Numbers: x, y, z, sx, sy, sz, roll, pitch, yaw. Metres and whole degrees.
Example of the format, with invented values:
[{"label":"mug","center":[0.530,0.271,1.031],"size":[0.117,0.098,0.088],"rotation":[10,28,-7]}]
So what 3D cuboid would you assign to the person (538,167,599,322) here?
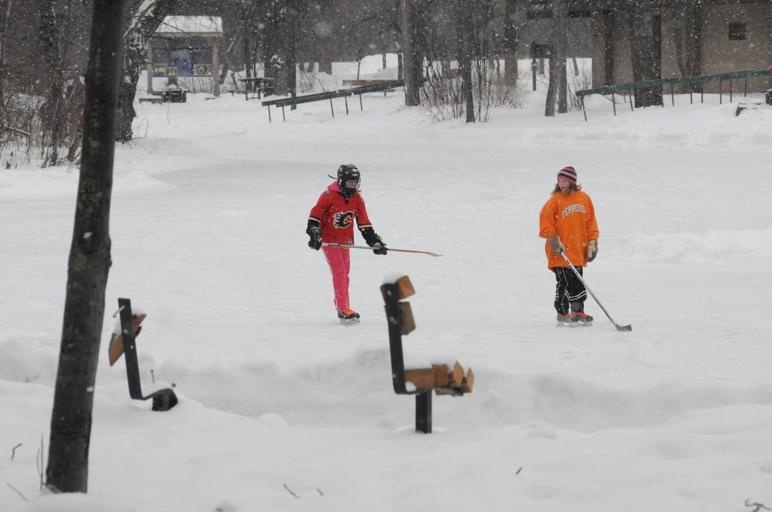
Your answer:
[{"label":"person","center":[3.476,-0.191,26.879],"size":[1.071,2.882,1.268],"rotation":[1,1,4]}]

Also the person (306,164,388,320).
[{"label":"person","center":[-0.776,-0.235,26.677],"size":[1.316,2.906,0.928],"rotation":[-2,5,-2]}]
